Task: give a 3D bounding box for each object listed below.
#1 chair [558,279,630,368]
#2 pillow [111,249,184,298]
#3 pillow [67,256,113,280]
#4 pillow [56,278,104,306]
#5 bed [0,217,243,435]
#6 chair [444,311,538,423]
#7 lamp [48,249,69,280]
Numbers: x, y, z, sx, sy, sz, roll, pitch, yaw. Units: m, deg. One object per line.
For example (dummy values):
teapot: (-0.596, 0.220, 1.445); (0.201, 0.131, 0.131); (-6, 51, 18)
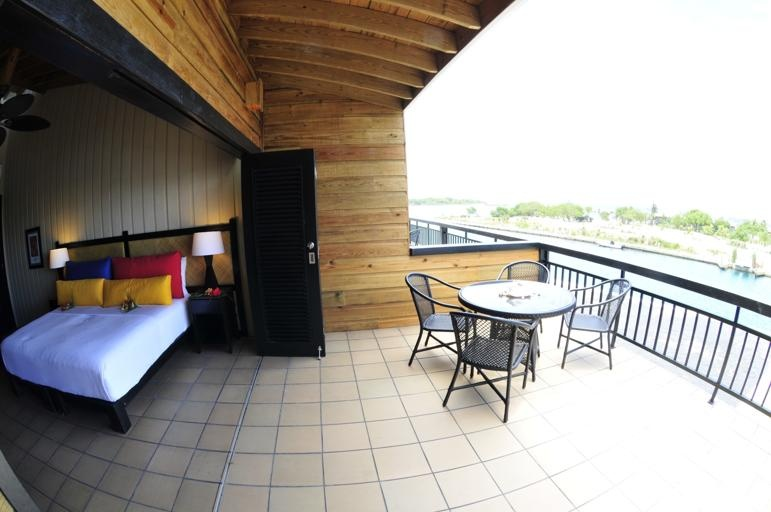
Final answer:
chair: (2.259, 0.716, 5.088); (0.699, 0.891, 0.652); (3, 13, 19)
pillow: (-1.882, 0.129, 3.597); (0.398, 0.264, 0.134); (-12, 17, -25)
pillow: (-2.030, 0.080, 3.131); (0.052, 0.110, 0.153); (15, 15, 39)
pillow: (-2.039, 0.248, 3.094); (0.057, 0.211, 0.325); (1, 7, 25)
bed: (-1.831, 0.372, 3.399); (1.255, 0.737, 1.211); (1, 10, 5)
chair: (1.076, 1.119, 4.593); (0.778, 1.028, 0.812); (9, 21, 34)
lamp: (-2.104, 0.049, 2.971); (0.026, 0.201, 0.108); (2, 8, 33)
